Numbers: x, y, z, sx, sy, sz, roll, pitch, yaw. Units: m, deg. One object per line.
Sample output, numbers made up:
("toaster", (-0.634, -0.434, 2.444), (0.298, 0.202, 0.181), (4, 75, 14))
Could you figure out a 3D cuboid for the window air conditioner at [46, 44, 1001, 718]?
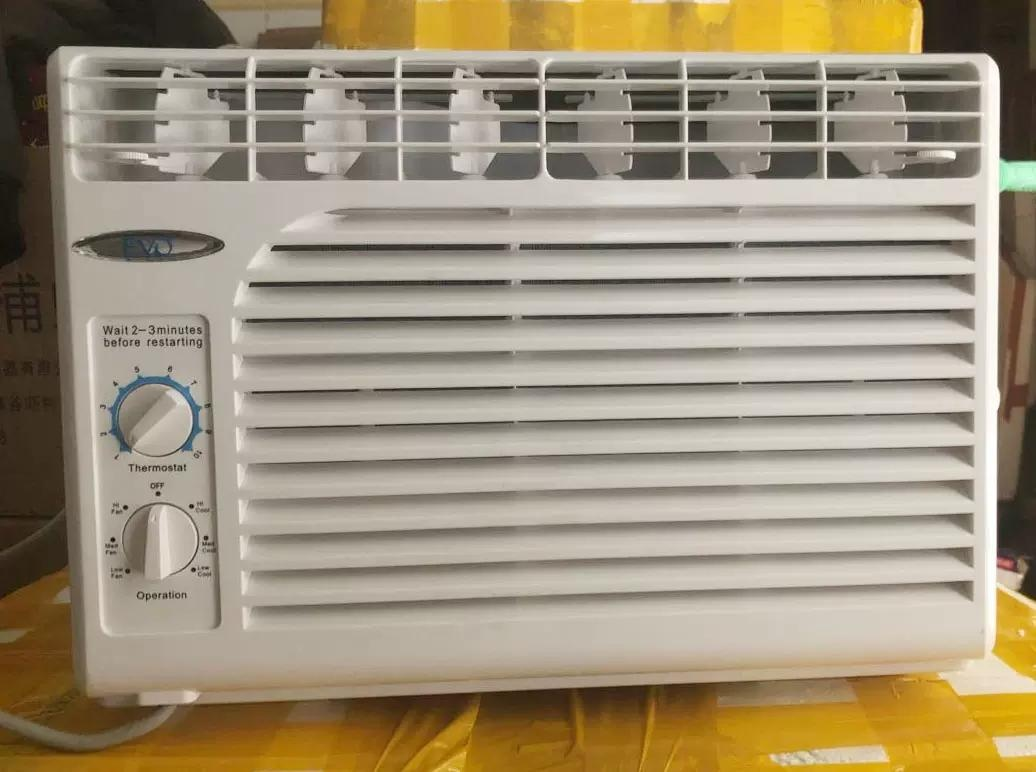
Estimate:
("window air conditioner", (0.176, -0.014, 1.634), (1.221, 0.646, 0.703), (-4, 86, 27))
